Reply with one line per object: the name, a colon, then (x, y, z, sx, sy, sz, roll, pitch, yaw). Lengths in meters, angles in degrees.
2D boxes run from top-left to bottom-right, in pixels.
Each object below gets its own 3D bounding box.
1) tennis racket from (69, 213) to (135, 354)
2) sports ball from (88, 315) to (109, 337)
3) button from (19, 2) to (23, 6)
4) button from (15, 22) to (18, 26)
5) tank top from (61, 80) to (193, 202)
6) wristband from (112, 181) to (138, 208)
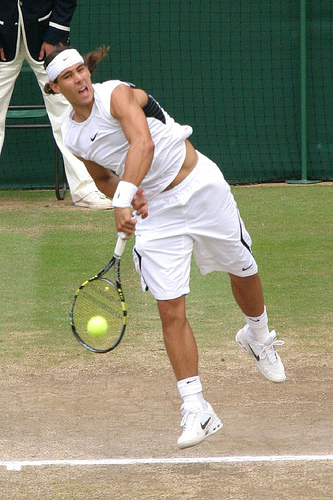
tennis racket: (-0.272, 0.144, 2.729, 0.255, 0.585, 0.507, -5, 9, -9)
sports ball: (-0.282, 0.312, 2.728, 0.091, 0.077, 0.091, 3, 46, -3)
button: (-1.389, -2.374, 6.436, 0.037, 0.020, 0.035, -4, 8, -8)
button: (-1.447, -2.200, 6.495, 0.024, 0.019, 0.003, -2, 10, 4)
tank top: (-0.162, -0.428, 2.680, 0.515, 0.474, 0.322, -3, 9, 1)
wristband: (-0.148, -0.203, 2.423, 0.098, 0.094, 0.077, -4, 9, -11)
